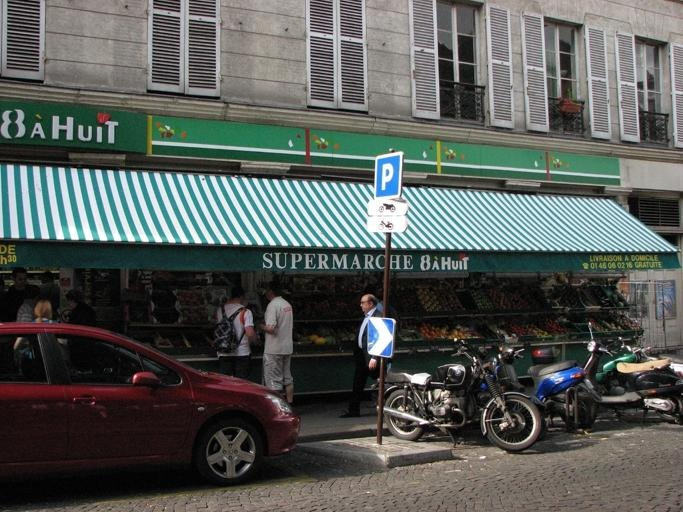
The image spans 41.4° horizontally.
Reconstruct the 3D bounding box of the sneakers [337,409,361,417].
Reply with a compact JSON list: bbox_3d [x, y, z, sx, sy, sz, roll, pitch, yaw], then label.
[{"bbox_3d":[0.142,2.672,15.376,0.295,0.092,0.151,3,-5,-7],"label":"sneakers"}]

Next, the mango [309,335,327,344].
[{"bbox_3d":[-0.429,1.529,16.823,0.314,0.137,0.271,-2,2,-17],"label":"mango"}]
